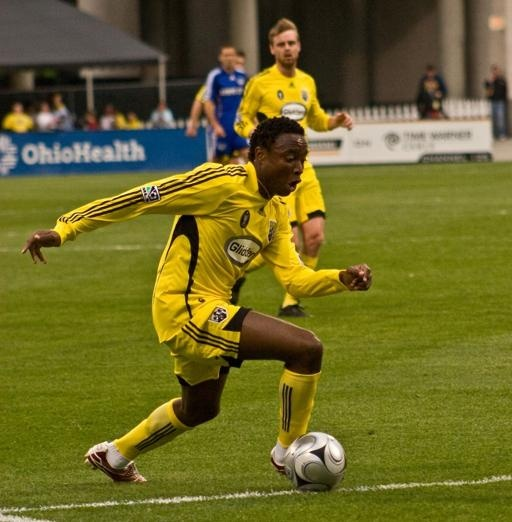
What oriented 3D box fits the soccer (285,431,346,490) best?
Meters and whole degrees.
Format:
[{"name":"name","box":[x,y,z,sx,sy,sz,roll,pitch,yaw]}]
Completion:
[{"name":"soccer","box":[0.244,0.889,5.454,0.280,0.260,0.233,-13,40,-12]}]

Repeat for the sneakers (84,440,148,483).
[{"name":"sneakers","box":[-0.657,0.931,5.574,0.098,0.217,0.072,-43,14,39]}]

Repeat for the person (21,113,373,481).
[{"name":"person","box":[-0.155,0.170,5.481,1.349,1.627,0.514,-2,8,1]}]
